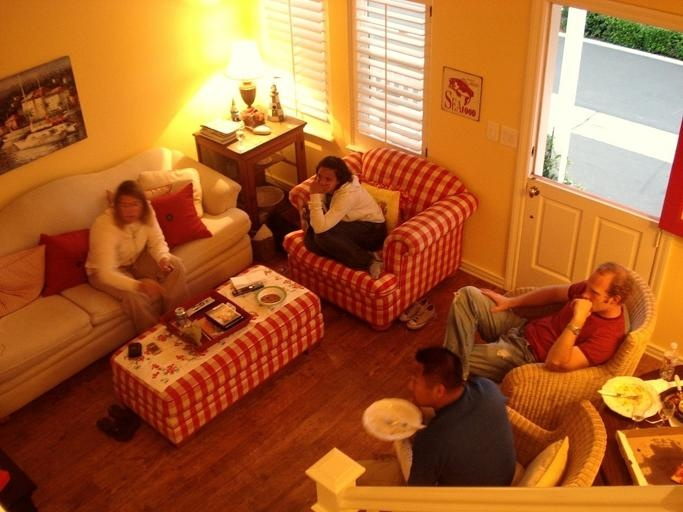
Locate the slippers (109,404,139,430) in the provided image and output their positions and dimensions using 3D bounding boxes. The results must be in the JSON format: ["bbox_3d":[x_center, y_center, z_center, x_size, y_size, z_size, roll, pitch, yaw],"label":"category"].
[{"bbox_3d":[-1.593,1.182,3.932,0.231,0.048,0.128,28,34,29],"label":"slippers"}]

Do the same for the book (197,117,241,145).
[{"bbox_3d":[-1.173,-1.231,5.271,0.311,0.096,0.313,19,38,25],"label":"book"}]

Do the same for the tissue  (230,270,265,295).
[{"bbox_3d":[-0.751,0.211,4.296,0.216,0.080,0.172,-22,33,-15],"label":"tissue "}]

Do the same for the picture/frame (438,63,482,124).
[{"bbox_3d":[0.998,-1.371,4.472,0.020,0.435,0.449,-36,52,-25],"label":"picture/frame"}]

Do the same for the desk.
[{"bbox_3d":[-0.932,-0.775,5.251,0.638,0.896,0.889,33,60,27],"label":"desk"}]

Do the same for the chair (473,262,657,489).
[{"bbox_3d":[1.195,0.942,3.197,1.075,1.323,0.969,6,37,16],"label":"chair"}]

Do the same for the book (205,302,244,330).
[{"bbox_3d":[-0.860,0.444,3.978,0.197,0.048,0.187,33,54,31],"label":"book"}]

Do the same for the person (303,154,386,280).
[{"bbox_3d":[0.059,-0.347,4.474,0.774,0.743,0.611,16,42,20],"label":"person"}]

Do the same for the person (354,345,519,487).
[{"bbox_3d":[0.558,0.817,2.790,0.581,0.790,0.694,-42,47,-22],"label":"person"}]

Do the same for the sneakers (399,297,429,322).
[{"bbox_3d":[0.646,0.477,4.712,0.120,0.113,0.343,29,45,32],"label":"sneakers"}]

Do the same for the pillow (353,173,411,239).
[{"bbox_3d":[0.359,-0.443,4.711,0.380,0.397,0.158,3,14,38],"label":"pillow"}]

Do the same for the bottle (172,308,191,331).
[{"bbox_3d":[-1.177,0.474,3.935,0.096,0.105,0.095,-38,44,-27],"label":"bottle"}]

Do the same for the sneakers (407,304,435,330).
[{"bbox_3d":[0.687,0.517,4.621,0.134,0.108,0.299,28,46,32],"label":"sneakers"}]
